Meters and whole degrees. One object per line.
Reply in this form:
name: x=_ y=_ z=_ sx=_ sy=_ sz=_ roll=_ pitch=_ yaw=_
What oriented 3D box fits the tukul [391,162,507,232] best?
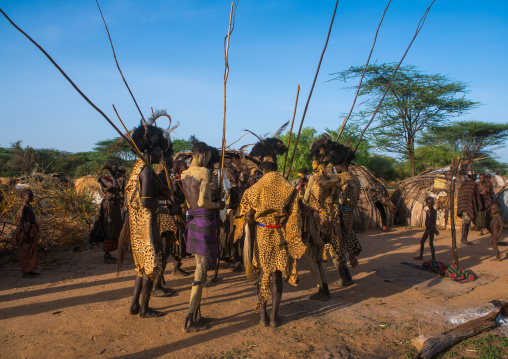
tukul: x=7.022 y=0.643 z=12.251 sx=3.273 sy=1.414 sz=3.154 roll=2 pitch=-7 yaw=-11

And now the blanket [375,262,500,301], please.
blanket: x=3.444 y=1.964 z=6.522 sx=2.003 sy=0.054 sz=1.608 roll=3 pitch=6 yaw=29
